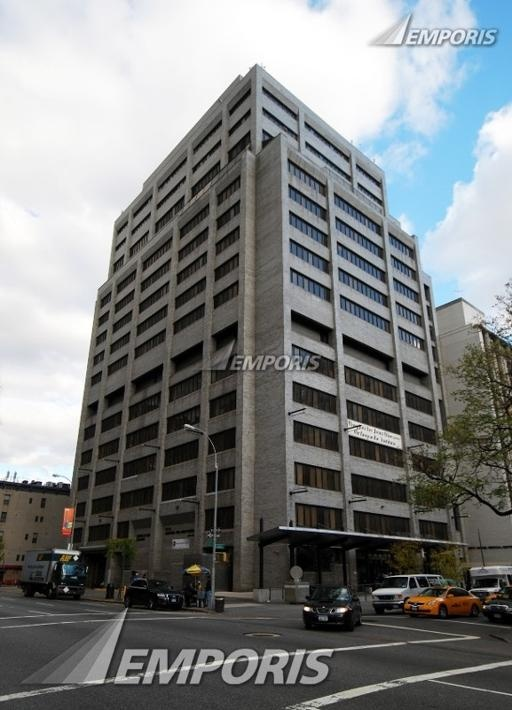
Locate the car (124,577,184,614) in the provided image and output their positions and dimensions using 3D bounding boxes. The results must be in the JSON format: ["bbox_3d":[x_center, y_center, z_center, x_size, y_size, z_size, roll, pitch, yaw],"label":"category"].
[{"bbox_3d":[-5.219,12.734,27.218,1.614,1.393,3.554,22,-35,-34],"label":"car"}]

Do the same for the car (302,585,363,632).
[{"bbox_3d":[2.364,7.980,16.295,1.628,1.218,1.747,-4,-23,8],"label":"car"}]

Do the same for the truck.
[{"bbox_3d":[-14.387,15.456,36.617,5.915,3.191,2.299,-17,-28,39],"label":"truck"}]

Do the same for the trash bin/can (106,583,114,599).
[{"bbox_3d":[-10.331,16.674,36.531,0.438,0.928,0.825,8,-24,-18],"label":"trash bin/can"}]

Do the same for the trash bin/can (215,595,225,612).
[{"bbox_3d":[-1.715,11.720,24.226,0.404,0.602,0.849,4,-23,-11],"label":"trash bin/can"}]
